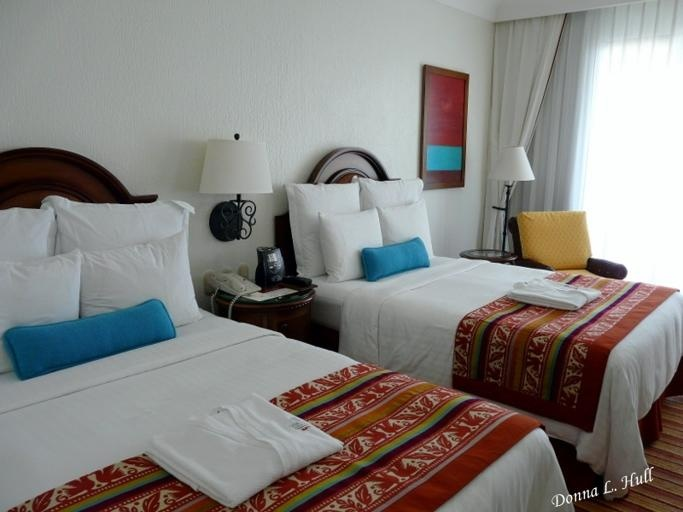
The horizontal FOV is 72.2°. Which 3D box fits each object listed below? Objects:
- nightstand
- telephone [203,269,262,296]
[{"bbox_3d":[-0.519,0.327,3.156,0.437,0.600,0.461,12,21,34],"label":"nightstand"},{"bbox_3d":[-0.781,0.177,3.243,0.272,0.121,0.218,11,19,27],"label":"telephone"}]
